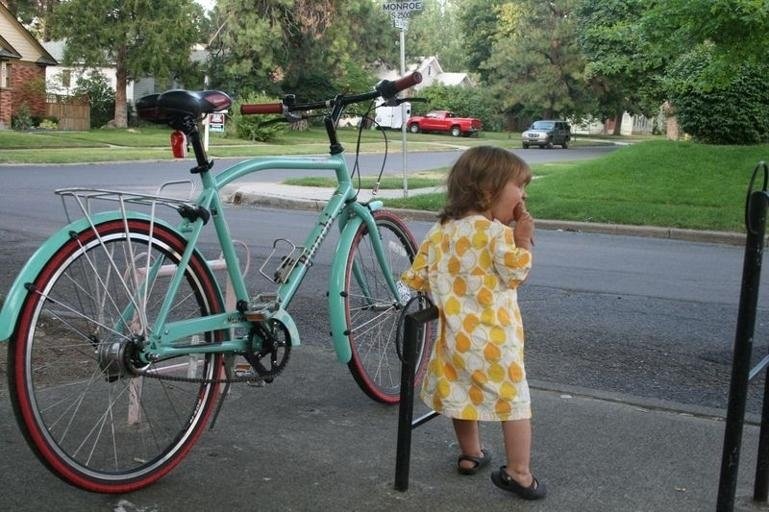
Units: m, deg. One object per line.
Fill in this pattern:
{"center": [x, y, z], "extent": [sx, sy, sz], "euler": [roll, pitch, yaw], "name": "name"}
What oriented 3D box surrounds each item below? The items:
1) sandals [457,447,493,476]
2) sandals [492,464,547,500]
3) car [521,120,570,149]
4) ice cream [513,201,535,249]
{"center": [0.523, 1.225, 3.955], "extent": [0.096, 0.088, 0.209], "euler": [11, 21, 41], "name": "sandals"}
{"center": [0.738, 1.293, 3.745], "extent": [0.290, 0.120, 0.156], "euler": [25, 14, -7], "name": "sandals"}
{"center": [10.337, -7.860, 42.523], "extent": [3.363, 1.729, 1.633], "euler": [-11, 19, -40], "name": "car"}
{"center": [0.782, -0.171, 3.759], "extent": [0.118, 0.268, 0.292], "euler": [4, 14, 11], "name": "ice cream"}
